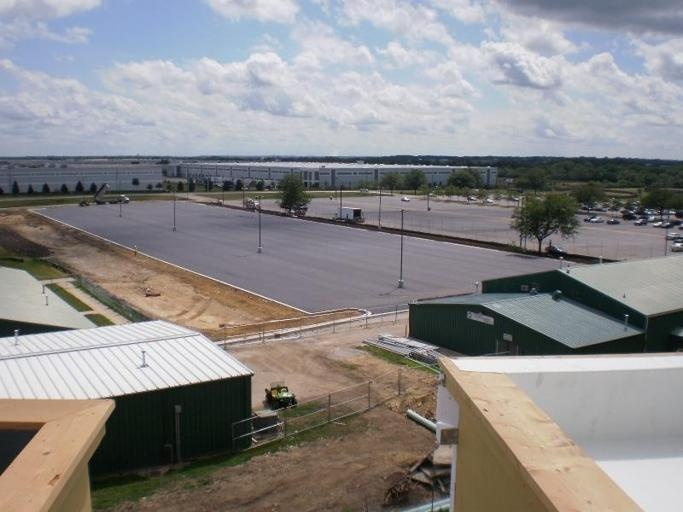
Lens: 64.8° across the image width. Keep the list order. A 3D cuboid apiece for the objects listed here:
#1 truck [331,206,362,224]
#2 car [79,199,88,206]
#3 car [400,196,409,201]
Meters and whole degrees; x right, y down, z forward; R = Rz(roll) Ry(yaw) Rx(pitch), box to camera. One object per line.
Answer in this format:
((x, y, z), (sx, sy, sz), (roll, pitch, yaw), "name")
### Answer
((1.419, -7.066, 91.357), (2.273, 2.508, 4.998), (-6, 11, -41), "truck")
((-53.307, -11.095, 109.811), (2.365, 1.212, 1.699), (1, 0, -2), "car")
((15.929, -14.367, 135.097), (1.482, 1.114, 2.579), (1, 10, -7), "car")
